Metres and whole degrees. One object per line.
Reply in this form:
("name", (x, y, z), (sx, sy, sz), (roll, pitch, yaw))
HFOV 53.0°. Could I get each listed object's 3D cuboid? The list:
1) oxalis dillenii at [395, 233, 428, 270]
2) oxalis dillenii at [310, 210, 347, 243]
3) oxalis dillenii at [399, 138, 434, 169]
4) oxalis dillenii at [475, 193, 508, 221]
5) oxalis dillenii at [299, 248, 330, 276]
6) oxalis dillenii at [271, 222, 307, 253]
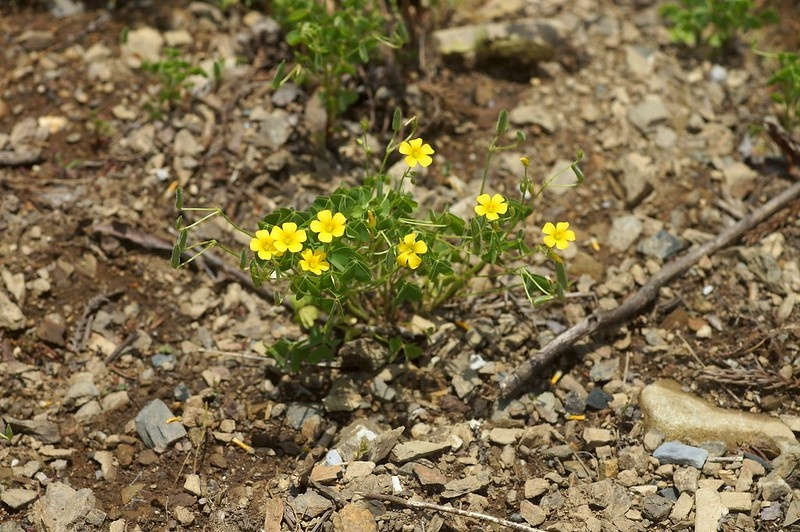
("oxalis dillenii", (0.081, -0.104, 5.066), (0.173, 0.170, 0.227), (22, 52, 11))
("oxalis dillenii", (-0.443, -0.236, 4.965), (0.219, 0.162, 0.202), (1, 51, -6))
("oxalis dillenii", (0.105, -0.715, 5.157), (0.216, 0.094, 0.221), (-13, 89, -7))
("oxalis dillenii", (0.579, -0.369, 5.053), (0.179, 0.049, 0.182), (14, 70, 1))
("oxalis dillenii", (-0.528, -0.007, 5.004), (0.184, 0.167, 0.177), (0, 51, -6))
("oxalis dillenii", (-0.679, -0.146, 4.949), (0.209, 0.219, 0.176), (-2, 51, -8))
